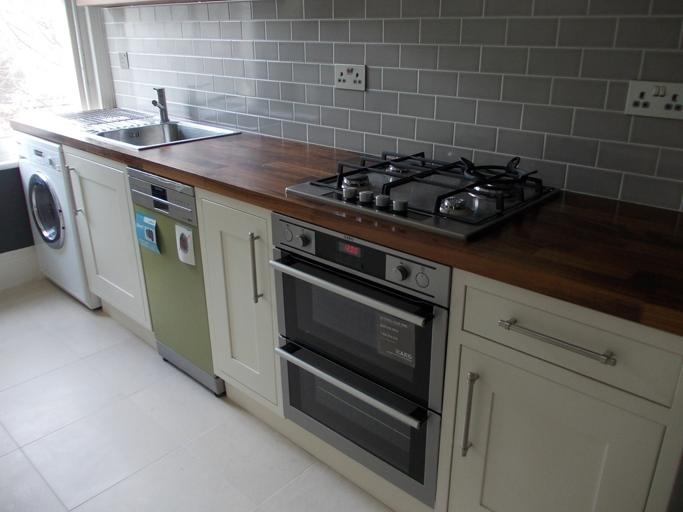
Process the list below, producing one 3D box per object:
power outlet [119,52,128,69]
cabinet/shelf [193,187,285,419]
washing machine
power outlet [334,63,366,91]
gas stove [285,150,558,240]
[{"bbox_3d":[-1.609,-1.442,3.496,0.095,0.097,0.013,31,43,32],"label":"power outlet"},{"bbox_3d":[-0.311,0.185,2.268,0.464,0.907,0.460,-12,19,-39],"label":"cabinet/shelf"},{"bbox_3d":[-1.857,-0.292,3.462,0.803,1.115,0.573,18,24,38],"label":"washing machine"},{"bbox_3d":[0.041,-0.873,2.318,0.045,0.115,0.196,-20,33,-37],"label":"power outlet"},{"bbox_3d":[0.317,-0.266,1.831,0.835,0.184,0.688,14,28,33],"label":"gas stove"}]
